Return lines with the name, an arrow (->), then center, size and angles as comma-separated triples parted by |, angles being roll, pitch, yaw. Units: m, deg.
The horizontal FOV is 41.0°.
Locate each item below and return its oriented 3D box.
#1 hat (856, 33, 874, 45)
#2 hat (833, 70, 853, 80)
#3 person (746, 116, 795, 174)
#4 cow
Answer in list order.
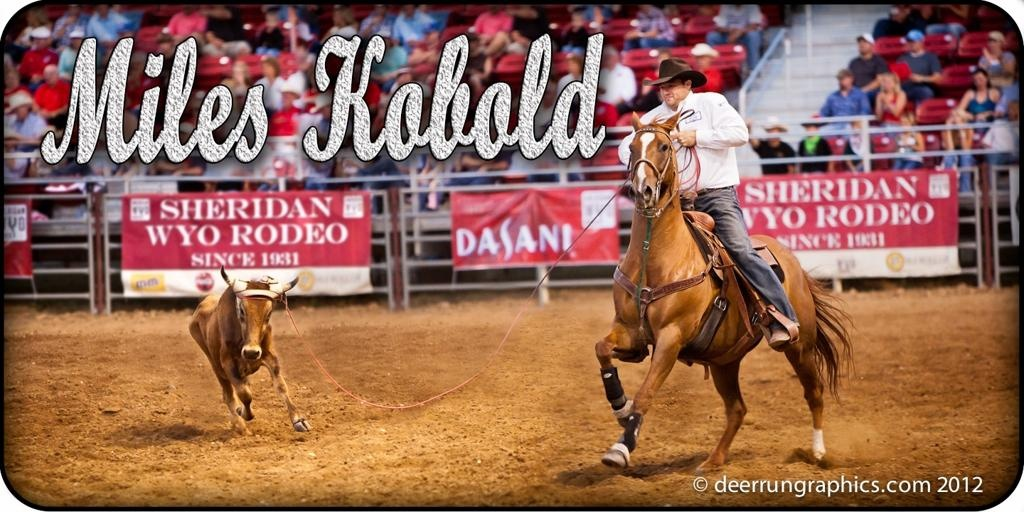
hat -> 8.042, -4.845, 31.113 | 0.325, 0.205, 0.320 | -1, 5, 24
hat -> 7.541, -4.074, 31.159 | 0.372, 0.205, 0.315 | -1, 6, 29
person -> 6.045, -2.143, 31.695 | 1.160, 2.050, 0.639 | 1, -19, 6
cow -> -5.392, 1.922, 27.535 | 2.007, 3.409, 1.074 | 0, 6, 40
